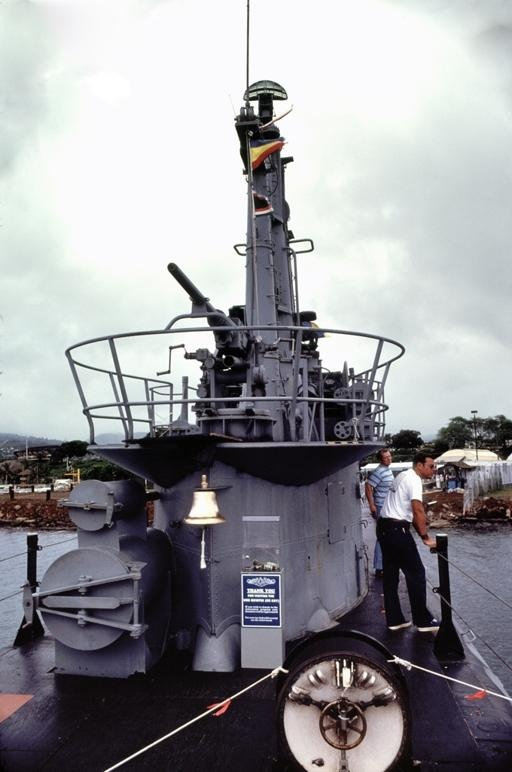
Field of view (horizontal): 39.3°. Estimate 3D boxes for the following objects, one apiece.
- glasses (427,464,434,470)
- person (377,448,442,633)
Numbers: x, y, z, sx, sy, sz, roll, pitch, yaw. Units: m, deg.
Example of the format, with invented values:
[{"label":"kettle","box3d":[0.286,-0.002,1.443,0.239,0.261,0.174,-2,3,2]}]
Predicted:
[{"label":"glasses","box3d":[1.669,0.765,6.832,0.049,0.033,0.062,3,-9,-23]},{"label":"person","box3d":[1.476,1.580,6.769,0.459,1.186,0.686,-1,-1,-29]}]
